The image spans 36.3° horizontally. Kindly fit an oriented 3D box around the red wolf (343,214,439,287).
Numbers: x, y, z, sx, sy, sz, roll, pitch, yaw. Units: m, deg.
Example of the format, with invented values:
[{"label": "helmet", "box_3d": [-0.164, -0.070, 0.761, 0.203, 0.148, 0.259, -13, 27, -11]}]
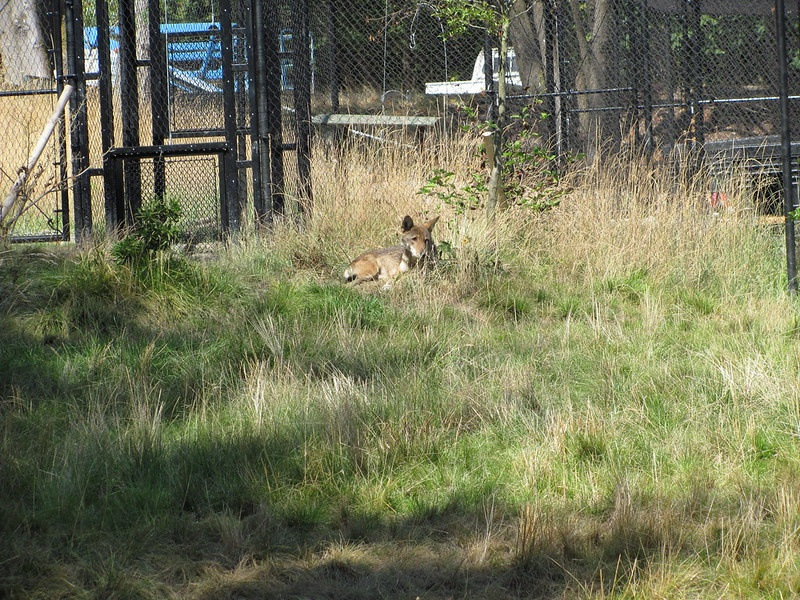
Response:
[{"label": "red wolf", "box_3d": [-0.125, -0.546, 14.044, 1.286, 1.015, 0.529, 9, 5, 43]}]
